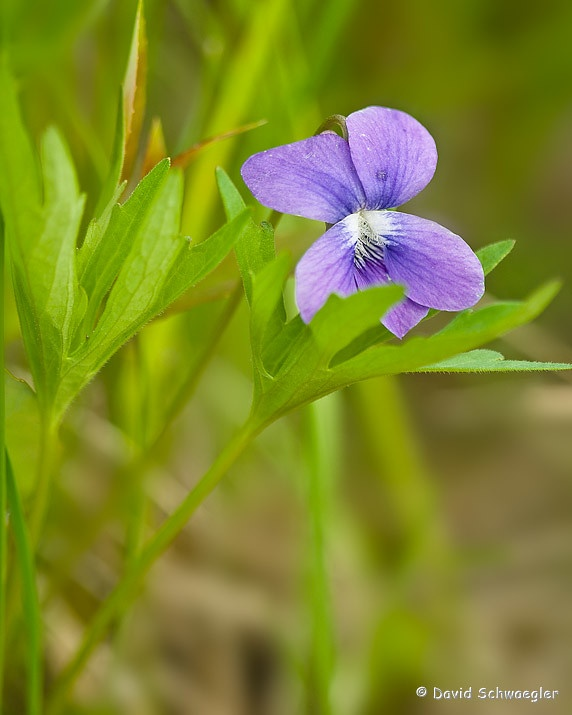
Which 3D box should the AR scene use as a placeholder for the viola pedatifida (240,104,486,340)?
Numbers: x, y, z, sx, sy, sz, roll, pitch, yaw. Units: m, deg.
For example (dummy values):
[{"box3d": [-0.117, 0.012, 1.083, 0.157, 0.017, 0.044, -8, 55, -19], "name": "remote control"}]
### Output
[{"box3d": [0.039, -0.066, 0.376, 0.121, 0.166, 0.040, 10, -28, -6], "name": "viola pedatifida"}]
